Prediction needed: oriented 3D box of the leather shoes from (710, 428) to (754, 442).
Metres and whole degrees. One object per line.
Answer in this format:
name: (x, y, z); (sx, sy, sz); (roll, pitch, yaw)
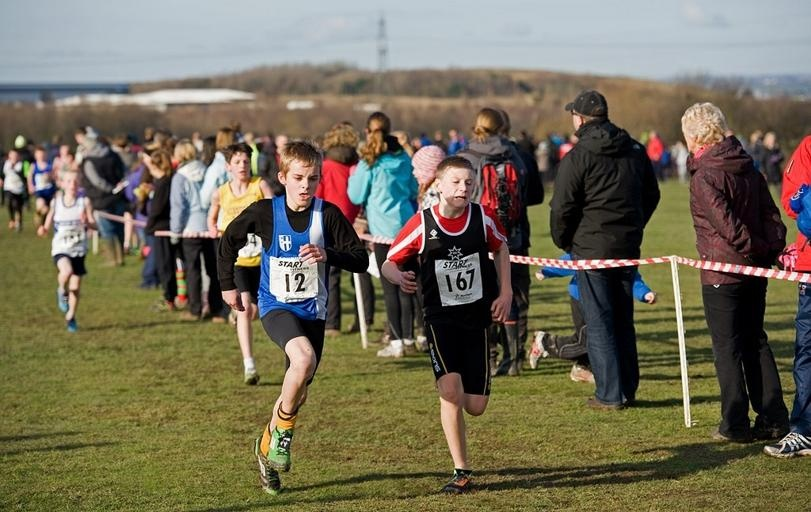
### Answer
leather shoes: (3.914, 2.132, 15.303); (0.376, 0.157, 0.174); (-3, -4, 15)

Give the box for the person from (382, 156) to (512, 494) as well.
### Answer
person: (0.562, 0.746, 14.579); (1.342, 3.743, 0.752); (-3, 5, 0)

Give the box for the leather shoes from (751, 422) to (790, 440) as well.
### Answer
leather shoes: (4.343, 2.075, 15.213); (0.444, 0.161, 0.201); (-2, -1, 14)

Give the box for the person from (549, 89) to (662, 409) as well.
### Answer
person: (2.488, -0.086, 15.989); (1.308, 3.964, 0.634); (-3, 5, 0)

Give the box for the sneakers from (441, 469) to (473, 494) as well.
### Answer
sneakers: (0.585, 2.545, 14.509); (0.381, 0.255, 0.198); (2, -6, 1)

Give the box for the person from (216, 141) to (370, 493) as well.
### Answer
person: (-1.300, 0.680, 14.661); (1.557, 3.962, 0.668); (-3, 5, -4)

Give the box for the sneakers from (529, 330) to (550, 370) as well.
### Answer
sneakers: (1.796, 1.272, 17.212); (0.274, 0.559, 0.206); (15, 26, 10)

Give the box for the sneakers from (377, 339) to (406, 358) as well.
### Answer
sneakers: (-0.176, 1.309, 18.152); (0.468, 0.285, 0.181); (1, -1, 22)

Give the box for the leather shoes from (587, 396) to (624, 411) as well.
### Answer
leather shoes: (2.523, 1.851, 16.090); (0.450, 0.189, 0.166); (-2, -1, 30)

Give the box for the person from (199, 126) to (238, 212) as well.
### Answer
person: (-2.682, -1.221, 18.461); (0.500, 1.607, 0.854); (5, 21, -3)

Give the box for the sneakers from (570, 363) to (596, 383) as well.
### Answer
sneakers: (2.356, 1.556, 16.924); (0.336, 0.160, 0.153); (2, -3, 8)

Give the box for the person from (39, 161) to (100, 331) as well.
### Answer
person: (-4.800, -0.050, 18.371); (0.724, 2.355, 0.961); (-4, 6, -14)

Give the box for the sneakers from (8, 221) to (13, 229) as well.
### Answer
sneakers: (-7.171, -0.574, 23.268); (0.113, 0.142, 0.046); (-5, -3, 7)

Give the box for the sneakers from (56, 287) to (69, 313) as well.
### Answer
sneakers: (-4.965, 0.633, 18.540); (0.182, 0.320, 0.133); (-7, 6, -41)

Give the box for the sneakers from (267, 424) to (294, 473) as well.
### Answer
sneakers: (-1.428, 2.188, 14.534); (0.303, 0.527, 0.180); (-4, 6, -12)

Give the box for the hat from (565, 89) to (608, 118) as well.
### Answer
hat: (2.264, -1.912, 15.979); (0.325, 0.248, 0.464); (-8, 22, -33)
